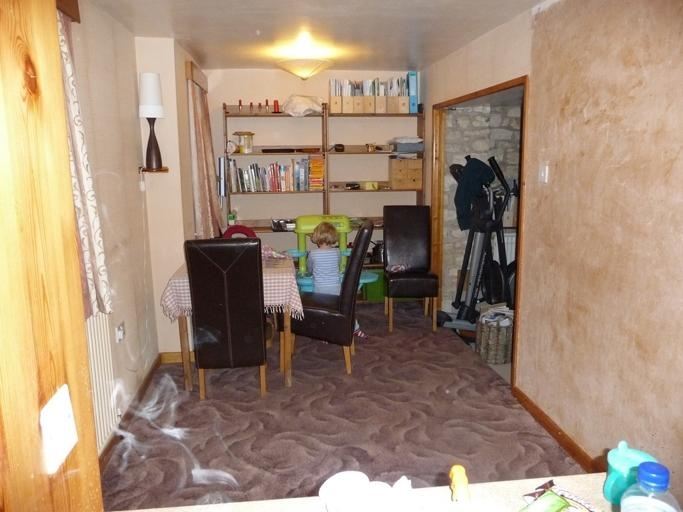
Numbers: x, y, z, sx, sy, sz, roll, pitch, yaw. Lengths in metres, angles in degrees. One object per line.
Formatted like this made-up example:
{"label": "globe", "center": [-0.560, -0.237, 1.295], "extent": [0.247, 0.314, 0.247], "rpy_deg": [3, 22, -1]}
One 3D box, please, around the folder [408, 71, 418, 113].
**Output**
{"label": "folder", "center": [0.772, -1.784, 5.830], "extent": [0.114, 0.442, 0.107], "rpy_deg": [-10, 16, -37]}

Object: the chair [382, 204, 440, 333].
{"label": "chair", "center": [0.674, 0.088, 5.290], "extent": [0.567, 1.123, 0.829], "rpy_deg": [1, 13, 9]}

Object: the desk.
{"label": "desk", "center": [-0.758, 0.487, 3.932], "extent": [0.955, 0.882, 0.655], "rpy_deg": [-2, 13, -4]}

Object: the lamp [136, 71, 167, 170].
{"label": "lamp", "center": [-1.363, -0.962, 3.876], "extent": [0.162, 0.691, 0.204], "rpy_deg": [-3, 13, -11]}
